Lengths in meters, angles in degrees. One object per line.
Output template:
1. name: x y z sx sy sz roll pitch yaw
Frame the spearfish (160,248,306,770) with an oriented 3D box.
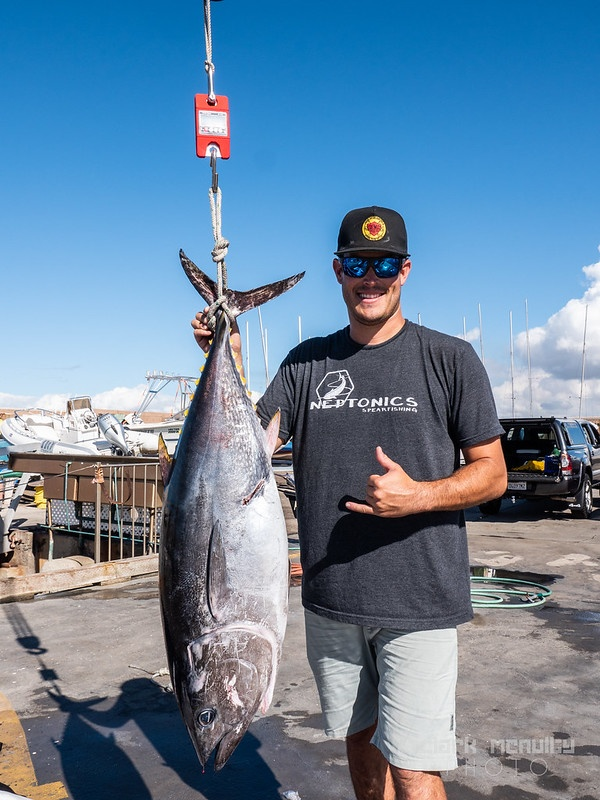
1. spearfish: -0.229 0.338 1.807 0.308 1.203 0.363 0 -1 -34

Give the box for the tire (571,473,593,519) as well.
1. tire: 4.793 1.625 11.134 0.280 0.859 0.886 -6 -5 34
